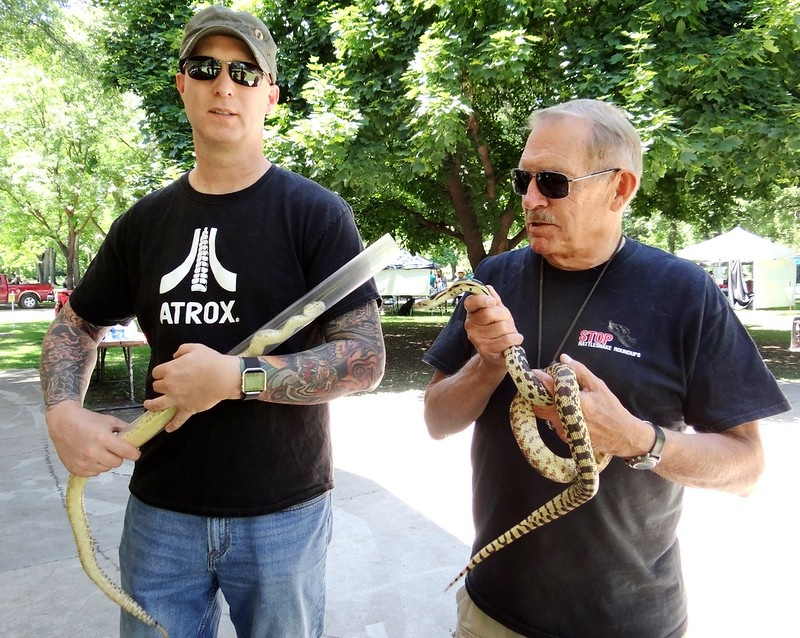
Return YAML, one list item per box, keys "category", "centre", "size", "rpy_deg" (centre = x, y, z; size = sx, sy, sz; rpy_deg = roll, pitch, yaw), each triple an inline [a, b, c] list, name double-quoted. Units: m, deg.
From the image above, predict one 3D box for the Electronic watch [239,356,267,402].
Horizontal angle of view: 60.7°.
- category: "Electronic watch"
  centre: [-0.589, 0.233, 2.719]
  size: [0.101, 0.164, 0.158]
  rpy_deg: [-1, 0, -23]

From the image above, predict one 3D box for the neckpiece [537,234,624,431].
- category: "neckpiece"
  centre: [0.817, 0.002, 3.125]
  size: [0.363, 0.650, 0.471]
  rpy_deg: [5, 7, 19]

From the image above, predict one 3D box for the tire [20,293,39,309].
- category: "tire"
  centre: [-20.083, -0.993, 36.813]
  size: [0.627, 0.648, 0.222]
  rpy_deg: [-34, 23, -33]
